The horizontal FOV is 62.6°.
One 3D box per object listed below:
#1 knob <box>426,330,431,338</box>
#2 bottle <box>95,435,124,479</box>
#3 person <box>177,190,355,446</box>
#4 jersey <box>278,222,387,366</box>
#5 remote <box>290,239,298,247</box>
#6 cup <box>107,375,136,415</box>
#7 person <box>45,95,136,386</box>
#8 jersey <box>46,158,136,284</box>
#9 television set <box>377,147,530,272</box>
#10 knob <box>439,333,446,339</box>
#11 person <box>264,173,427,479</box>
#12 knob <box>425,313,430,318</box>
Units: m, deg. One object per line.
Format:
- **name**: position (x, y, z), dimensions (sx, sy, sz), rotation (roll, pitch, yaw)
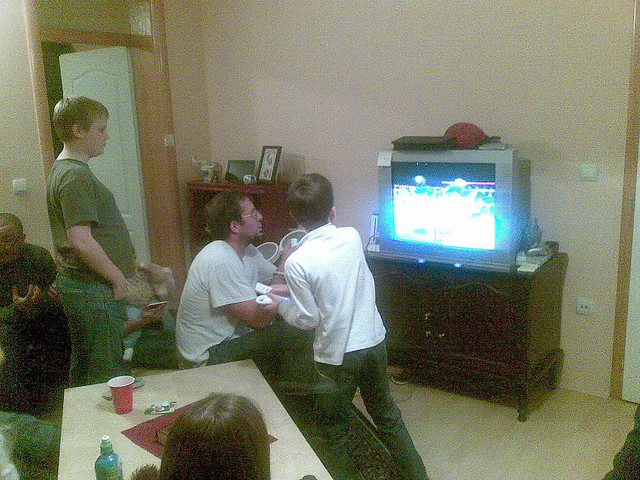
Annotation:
- **knob**: position (0.586, 0.514, 2.864), dimensions (0.024, 0.032, 0.012), rotation (5, 12, 21)
- **bottle**: position (-0.601, 0.595, 1.473), dimensions (0.070, 0.140, 0.100), rotation (-8, 15, -22)
- **person**: position (-0.233, 0.355, 2.461), dimensions (0.874, 1.151, 0.508), rotation (-5, 13, 0)
- **jersey**: position (0.045, 0.213, 2.099), dimensions (0.433, 0.537, 0.197), rotation (-3, 14, -6)
- **remote**: position (-0.132, 0.009, 2.525), dimensions (0.033, 0.035, 0.033), rotation (7, 4, 34)
- **cup**: position (-0.648, 0.499, 1.717), dimensions (0.116, 0.114, 0.112), rotation (-1, -3, 0)
- **person**: position (-1.023, 0.039, 2.345), dimensions (0.344, 1.321, 0.215), rotation (-8, 16, -23)
- **jersey**: position (-1.023, -0.080, 2.324), dimensions (0.326, 0.571, 0.207), rotation (-8, 16, -24)
- **television set**: position (0.754, -0.183, 2.877), dimensions (0.753, 0.586, 0.424), rotation (7, 14, 42)
- **knob**: position (0.655, 0.512, 2.825), dimensions (0.032, 0.028, 0.008), rotation (-1, 2, 40)
- **person**: position (0.112, 0.362, 2.092), dimensions (0.566, 1.209, 0.350), rotation (12, 20, 43)
- **knob**: position (0.581, 0.406, 2.854), dimensions (0.005, 0.019, 0.021), rotation (1, 6, -37)
